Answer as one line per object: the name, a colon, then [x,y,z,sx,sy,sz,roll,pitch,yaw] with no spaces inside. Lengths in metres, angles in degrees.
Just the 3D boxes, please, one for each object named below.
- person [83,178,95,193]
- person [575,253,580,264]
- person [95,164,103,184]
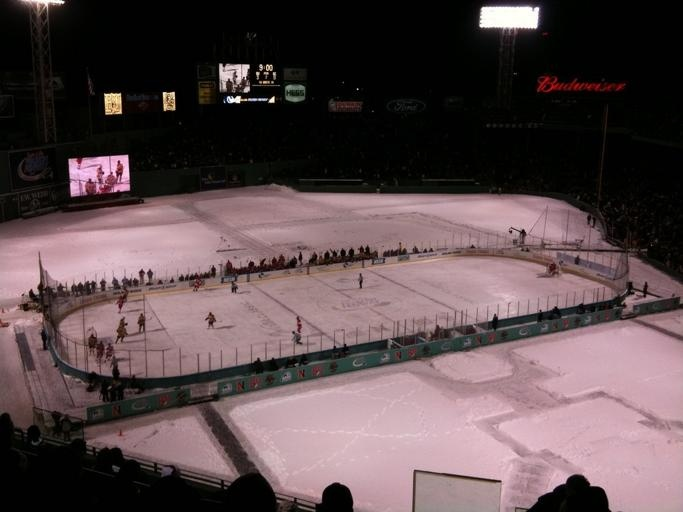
person: [-28.937,-8.018,68.456,0.492,1.810,1.446,10,17,35]
person: [20.062,0.319,50.498,0.440,0.635,0.926,6,15,22]
person: [-27.924,-9.452,68.859,0.598,2.148,0.933,6,15,24]
